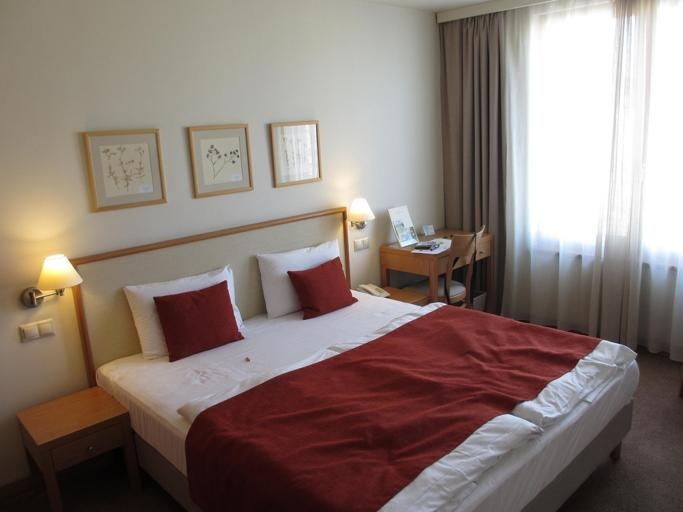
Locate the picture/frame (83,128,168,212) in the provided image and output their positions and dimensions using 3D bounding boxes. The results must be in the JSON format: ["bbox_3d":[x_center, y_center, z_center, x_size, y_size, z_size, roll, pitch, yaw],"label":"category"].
[{"bbox_3d":[-1.521,-0.604,3.444,0.478,0.529,0.033,-15,17,-30],"label":"picture/frame"}]

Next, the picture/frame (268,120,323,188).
[{"bbox_3d":[-0.413,-0.878,4.226,0.033,0.519,0.475,9,23,44],"label":"picture/frame"}]

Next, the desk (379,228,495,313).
[{"bbox_3d":[1.046,0.256,5.085,1.056,0.918,0.619,-19,19,-42],"label":"desk"}]

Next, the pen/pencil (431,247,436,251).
[{"bbox_3d":[0.866,-0.066,4.710,0.018,0.025,0.065,-14,4,33],"label":"pen/pencil"}]

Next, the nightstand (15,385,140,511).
[{"bbox_3d":[-1.686,1.205,3.289,0.610,0.744,0.673,-14,22,-38],"label":"nightstand"}]

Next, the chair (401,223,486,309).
[{"bbox_3d":[1.106,0.071,4.763,0.432,0.702,0.493,5,27,3],"label":"chair"}]

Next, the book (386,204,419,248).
[{"bbox_3d":[0.596,-0.294,5.019,0.028,0.413,0.348,-17,4,43],"label":"book"}]

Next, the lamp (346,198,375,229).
[{"bbox_3d":[0.192,-0.376,4.613,0.215,0.279,0.237,8,11,32],"label":"lamp"}]

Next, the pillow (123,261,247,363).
[{"bbox_3d":[-1.144,0.415,3.514,0.569,0.438,0.198,-14,6,-38],"label":"pillow"}]

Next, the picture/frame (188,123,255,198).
[{"bbox_3d":[-0.950,-0.743,3.836,0.497,0.547,0.036,-14,16,-40],"label":"picture/frame"}]

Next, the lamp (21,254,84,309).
[{"bbox_3d":[-1.869,0.190,3.182,0.336,0.348,0.210,0,14,11],"label":"lamp"}]

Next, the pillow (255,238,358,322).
[{"bbox_3d":[-0.327,0.213,4.079,0.567,0.408,0.198,-14,7,-38],"label":"pillow"}]
